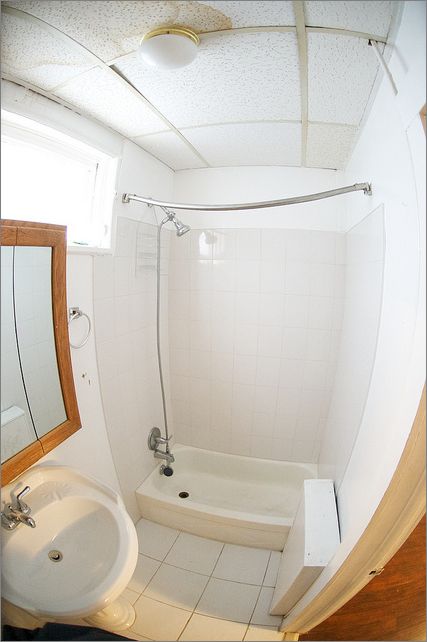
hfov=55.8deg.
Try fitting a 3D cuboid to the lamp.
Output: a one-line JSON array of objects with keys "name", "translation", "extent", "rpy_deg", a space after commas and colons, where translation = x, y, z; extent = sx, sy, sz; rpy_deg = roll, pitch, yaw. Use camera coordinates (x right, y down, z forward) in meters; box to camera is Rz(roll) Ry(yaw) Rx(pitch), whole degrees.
[{"name": "lamp", "translation": [-0.083, -0.507, 0.748], "extent": [0.104, 0.051, 0.065], "rpy_deg": [7, 12, 18]}]
